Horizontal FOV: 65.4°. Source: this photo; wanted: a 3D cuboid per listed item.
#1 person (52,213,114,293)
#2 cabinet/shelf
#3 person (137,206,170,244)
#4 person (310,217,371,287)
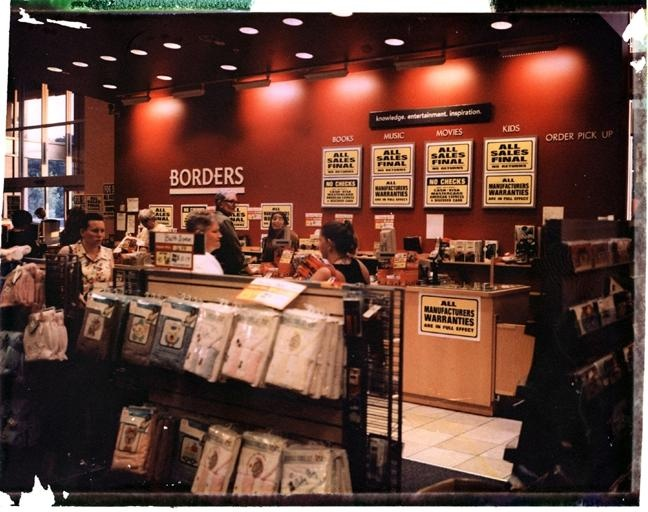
[{"bbox_3d":[-1.879,-0.050,4.029,0.387,0.655,0.817,4,-4,-24],"label":"person"},{"bbox_3d":[1.539,0.548,2.955,0.968,1.637,0.474,3,-4,-18],"label":"cabinet/shelf"},{"bbox_3d":[-2.193,-0.428,6.564,0.424,0.644,0.730,0,4,-24],"label":"person"},{"bbox_3d":[0.119,0.016,4.192,0.365,0.630,0.722,4,12,28],"label":"person"}]
